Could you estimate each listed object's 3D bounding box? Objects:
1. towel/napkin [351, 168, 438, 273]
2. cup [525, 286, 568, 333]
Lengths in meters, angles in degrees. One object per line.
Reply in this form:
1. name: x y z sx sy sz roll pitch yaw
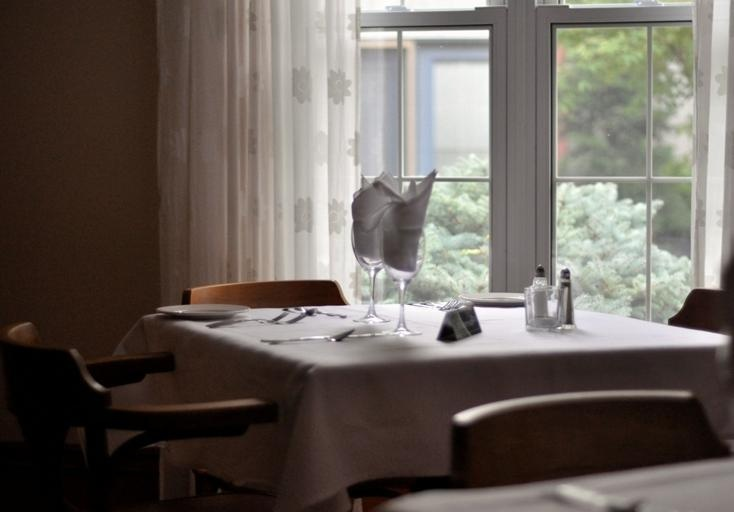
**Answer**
1. towel/napkin: 0.060 -0.088 1.934 0.218 0.269 0.103 4 1 31
2. cup: 0.471 0.141 1.998 0.101 0.124 0.108 0 -1 0
